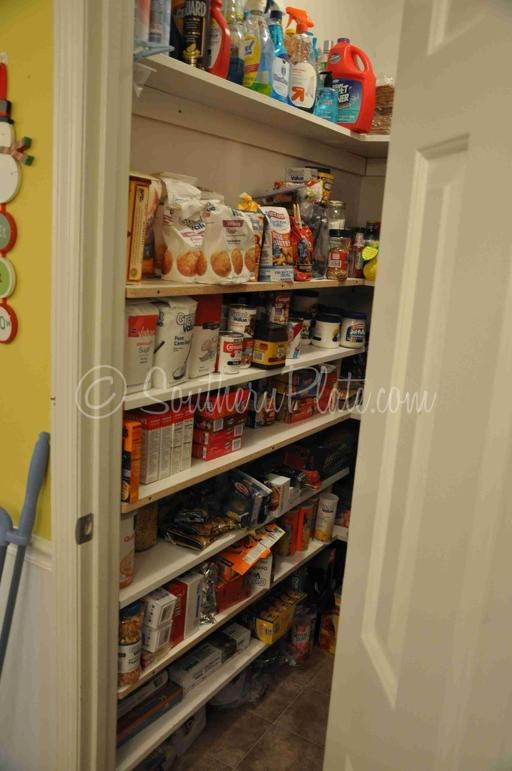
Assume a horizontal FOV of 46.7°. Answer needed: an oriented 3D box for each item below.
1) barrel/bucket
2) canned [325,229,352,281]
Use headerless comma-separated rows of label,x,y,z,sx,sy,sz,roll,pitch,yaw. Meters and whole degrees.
barrel/bucket,0.331,-1.078,2.113,0.187,0.283,0.098,21,28,32
canned,0.286,-0.470,2.162,0.103,0.166,0.106,1,9,7
